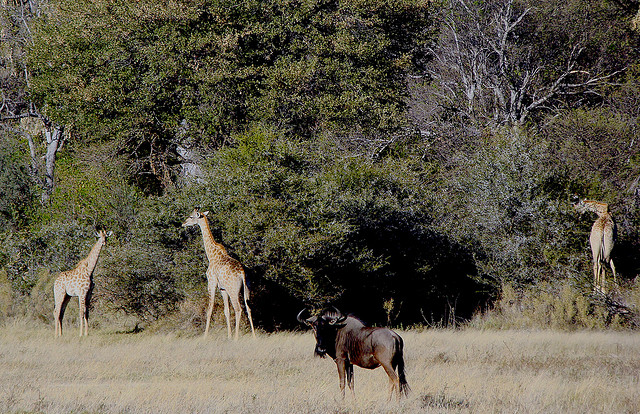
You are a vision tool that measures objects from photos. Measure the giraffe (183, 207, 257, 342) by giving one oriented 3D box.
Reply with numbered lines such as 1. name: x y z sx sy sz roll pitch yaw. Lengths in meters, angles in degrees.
1. giraffe: -4.552 3.081 46.411 3.607 6.167 1.222 3 7 38

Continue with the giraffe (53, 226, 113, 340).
1. giraffe: -10.991 3.648 47.073 2.640 4.777 2.087 -2 -10 3

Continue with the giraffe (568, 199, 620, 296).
1. giraffe: 13.243 1.939 48.949 1.670 4.668 1.529 -4 -10 13
